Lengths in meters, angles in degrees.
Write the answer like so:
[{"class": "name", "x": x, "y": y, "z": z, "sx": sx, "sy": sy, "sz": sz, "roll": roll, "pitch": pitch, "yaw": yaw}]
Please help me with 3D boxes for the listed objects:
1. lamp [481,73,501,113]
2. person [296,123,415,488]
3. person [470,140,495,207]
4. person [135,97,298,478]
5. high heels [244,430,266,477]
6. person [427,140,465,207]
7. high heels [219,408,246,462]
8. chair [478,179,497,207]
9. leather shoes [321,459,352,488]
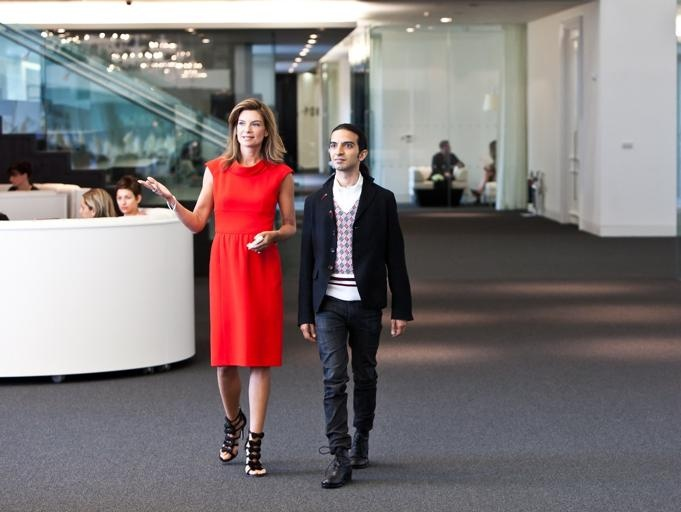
[{"class": "lamp", "x": 2.203, "y": -2.410, "z": 9.966, "sx": 0.320, "sy": 0.615, "sz": 0.192, "roll": 0, "pitch": 4, "yaw": -5}, {"class": "person", "x": 0.070, "y": 0.229, "z": 3.663, "sx": 0.588, "sy": 1.867, "sz": 0.392, "roll": -2, "pitch": 4, "yaw": -24}, {"class": "person", "x": 2.075, "y": -1.214, "z": 9.846, "sx": 0.346, "sy": 0.898, "sz": 0.087, "roll": -1, "pitch": 4, "yaw": -11}, {"class": "person", "x": -0.551, "y": 0.153, "z": 3.748, "sx": 0.620, "sy": 2.036, "sz": 0.524, "roll": -3, "pitch": 5, "yaw": -41}, {"class": "high heels", "x": -0.470, "y": 1.040, "z": 3.755, "sx": 0.114, "sy": 0.220, "sz": 0.304, "roll": 0, "pitch": 5, "yaw": -8}, {"class": "person", "x": 1.526, "y": -1.208, "z": 9.858, "sx": 0.469, "sy": 0.924, "sz": 0.140, "roll": -1, "pitch": 4, "yaw": -11}, {"class": "high heels", "x": -0.608, "y": 1.011, "z": 3.869, "sx": 0.102, "sy": 0.148, "sz": 0.339, "roll": 0, "pitch": 18, "yaw": 5}, {"class": "chair", "x": 2.155, "y": -0.937, "z": 9.853, "sx": 0.265, "sy": 0.523, "sz": 0.304, "roll": 1, "pitch": 3, "yaw": 26}, {"class": "leather shoes", "x": -0.015, "y": 1.114, "z": 3.495, "sx": 0.075, "sy": 0.118, "sz": 0.222, "roll": 3, "pitch": -11, "yaw": 17}]
